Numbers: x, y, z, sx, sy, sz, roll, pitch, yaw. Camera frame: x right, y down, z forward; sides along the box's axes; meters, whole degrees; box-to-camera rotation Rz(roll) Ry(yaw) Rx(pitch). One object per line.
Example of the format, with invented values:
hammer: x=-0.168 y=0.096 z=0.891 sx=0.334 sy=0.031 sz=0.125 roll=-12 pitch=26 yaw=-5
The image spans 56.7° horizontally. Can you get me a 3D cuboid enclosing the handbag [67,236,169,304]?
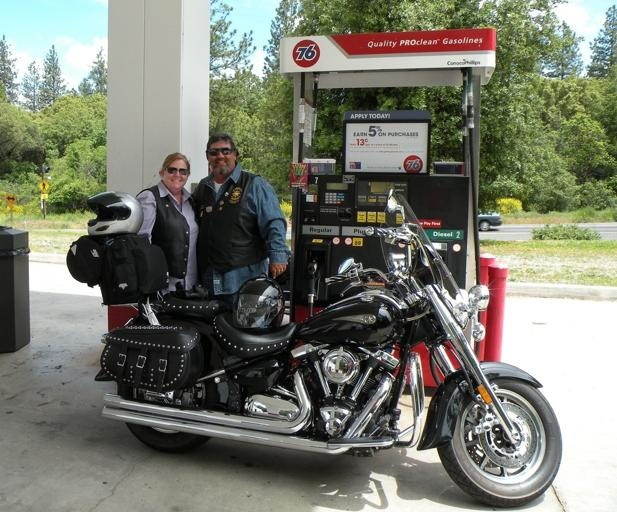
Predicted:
handbag: x=-1.241 y=0.048 z=3.800 sx=0.525 sy=0.395 sz=0.441 roll=-3 pitch=4 yaw=-1

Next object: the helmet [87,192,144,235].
helmet: x=-1.289 y=-0.276 z=3.851 sx=0.306 sy=0.247 sz=0.291 roll=4 pitch=2 yaw=2
